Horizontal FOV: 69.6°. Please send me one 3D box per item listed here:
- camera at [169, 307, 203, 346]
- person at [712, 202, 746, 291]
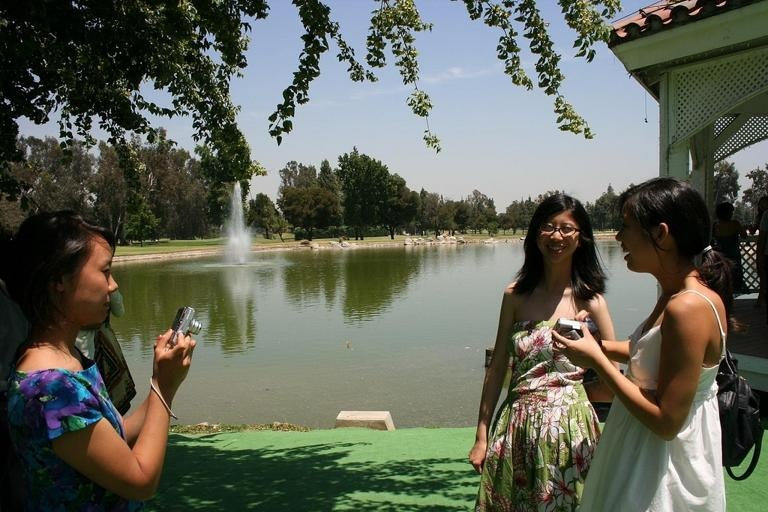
[{"bbox_3d":[-0.928,0.326,2.592,0.129,0.070,0.214,11,-2,-6],"label":"camera"},{"bbox_3d":[6.403,-0.136,10.406,0.624,1.789,0.594,-1,17,31],"label":"person"}]
